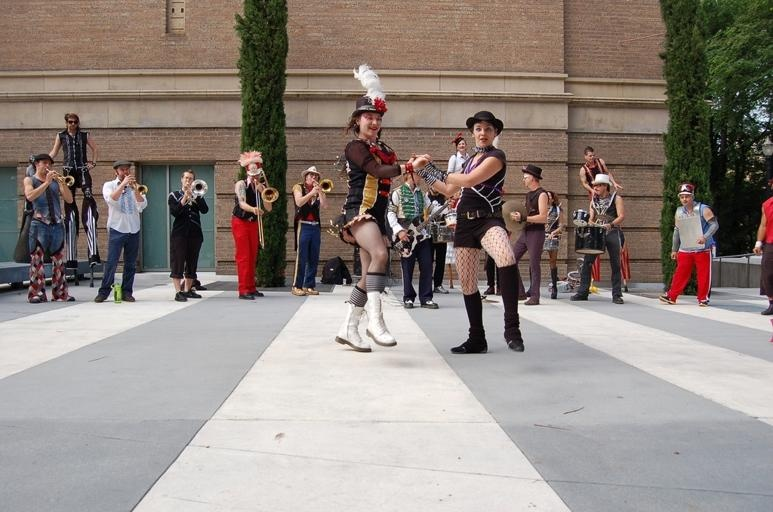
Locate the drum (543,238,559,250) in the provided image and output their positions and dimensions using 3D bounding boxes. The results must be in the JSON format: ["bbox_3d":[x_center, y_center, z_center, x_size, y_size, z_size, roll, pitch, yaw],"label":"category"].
[{"bbox_3d":[3.462,-0.242,18.342,0.260,0.147,0.319,0,-5,5],"label":"drum"}]

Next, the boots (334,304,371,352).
[{"bbox_3d":[-0.458,1.067,12.656,0.674,0.635,0.288,15,-11,-16],"label":"boots"}]

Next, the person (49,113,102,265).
[{"bbox_3d":[-6.992,-1.527,19.369,1.085,3.462,1.496,-1,5,-8],"label":"person"}]

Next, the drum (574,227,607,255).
[{"bbox_3d":[4.094,-0.288,17.560,0.576,0.523,0.580,4,1,38],"label":"drum"}]

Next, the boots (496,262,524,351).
[{"bbox_3d":[1.776,0.761,12.825,0.444,1.183,0.367,0,-4,-24],"label":"boots"}]

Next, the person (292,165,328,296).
[{"bbox_3d":[-1.606,-0.482,18.392,0.777,2.659,0.953,0,-1,31],"label":"person"}]

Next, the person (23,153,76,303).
[{"bbox_3d":[-6.522,-0.536,16.887,0.815,2.824,0.984,-1,2,-20],"label":"person"}]

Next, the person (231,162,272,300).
[{"bbox_3d":[-2.694,-0.626,17.467,0.701,2.949,0.904,0,2,1],"label":"person"}]

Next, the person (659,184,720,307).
[{"bbox_3d":[6.054,-0.199,17.526,1.103,2.390,0.835,-1,-4,19],"label":"person"}]

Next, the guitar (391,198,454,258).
[{"bbox_3d":[0.634,-0.564,16.042,0.622,1.255,1.624,1,-1,-23],"label":"guitar"}]

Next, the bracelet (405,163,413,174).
[{"bbox_3d":[0.317,-1.240,12.119,0.106,0.134,0.242,0,2,4],"label":"bracelet"}]

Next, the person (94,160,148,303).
[{"bbox_3d":[-5.133,-0.496,16.905,0.872,2.746,0.938,-1,2,-16],"label":"person"}]

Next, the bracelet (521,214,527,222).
[{"bbox_3d":[2.638,-0.720,16.716,0.092,0.119,0.048,6,-22,11],"label":"bracelet"}]

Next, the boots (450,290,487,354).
[{"bbox_3d":[1.244,0.968,12.721,0.400,0.875,0.662,2,3,45],"label":"boots"}]

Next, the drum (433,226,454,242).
[{"bbox_3d":[1.140,-0.435,17.463,0.458,0.289,0.285,0,0,-17],"label":"drum"}]
